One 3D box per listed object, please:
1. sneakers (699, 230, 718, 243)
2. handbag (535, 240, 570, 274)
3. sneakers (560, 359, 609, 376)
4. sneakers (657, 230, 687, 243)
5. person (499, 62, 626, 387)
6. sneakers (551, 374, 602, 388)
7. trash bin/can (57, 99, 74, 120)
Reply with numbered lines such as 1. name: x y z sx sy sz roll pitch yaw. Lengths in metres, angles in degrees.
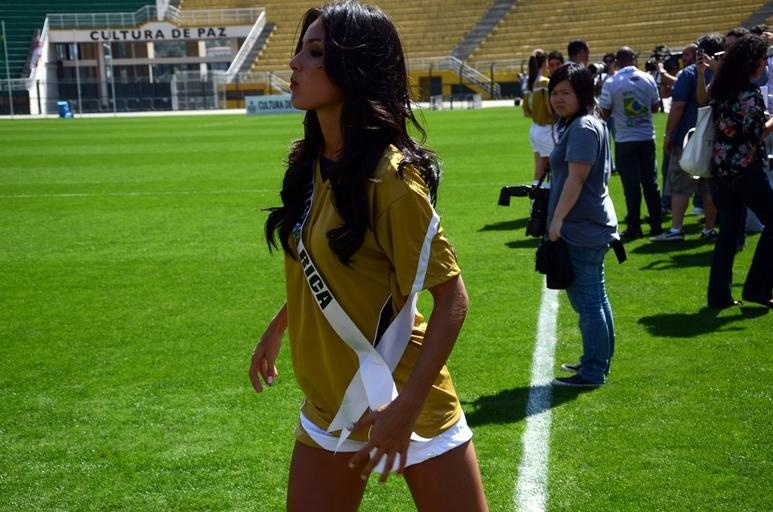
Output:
1. sneakers: 3.895 -0.240 10.537 0.333 0.139 0.113 -1 8 20
2. handbag: 1.289 0.006 6.925 0.261 0.254 0.116 1 -4 23
3. sneakers: 1.580 0.884 7.178 0.403 0.153 0.138 3 1 29
4. sneakers: 3.362 -0.224 10.541 0.388 0.160 0.128 0 2 4
5. person: 1.534 -0.257 7.120 0.670 2.540 0.646 1 9 10
6. sneakers: 1.518 1.002 7.097 0.374 0.117 0.134 4 -8 9
7. trash bin/can: -16.077 -7.342 44.060 0.564 0.761 1.797 -5 10 -23
